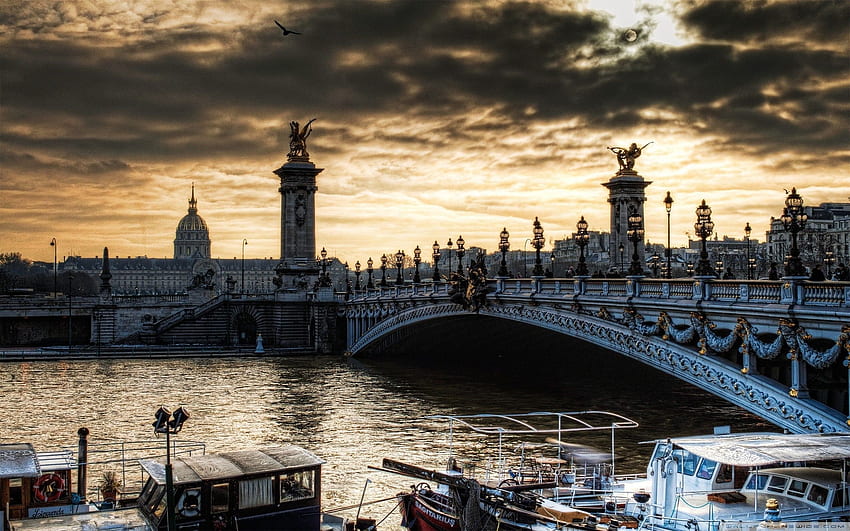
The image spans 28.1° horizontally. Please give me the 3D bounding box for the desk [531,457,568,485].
[{"bbox_3d":[7.609,12.613,105.293,1.872,0.628,1.771,-3,7,-36],"label":"desk"}]
